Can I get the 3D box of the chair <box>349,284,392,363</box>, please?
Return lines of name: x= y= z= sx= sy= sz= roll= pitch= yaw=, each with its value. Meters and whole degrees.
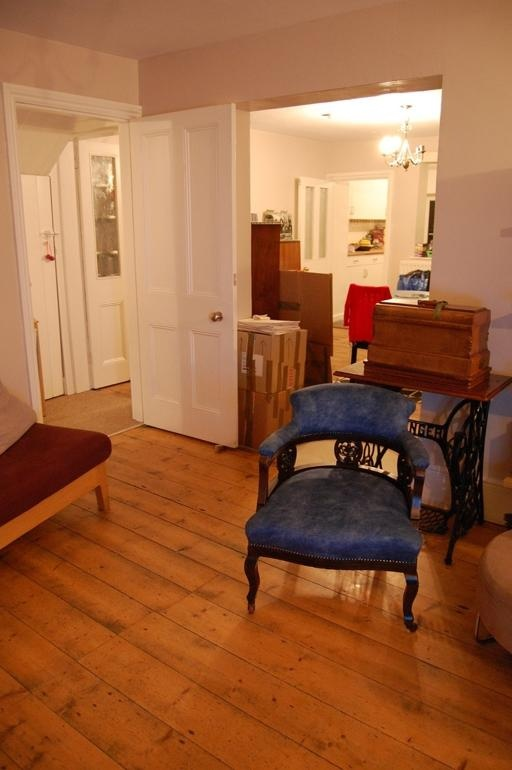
chair: x=1.019 y=-0.531 z=5.206 sx=0.345 sy=0.742 sz=0.598 roll=-1 pitch=13 yaw=-3

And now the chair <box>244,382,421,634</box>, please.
chair: x=0.322 y=0.390 z=2.089 sx=0.590 sy=0.604 sz=0.714 roll=3 pitch=18 yaw=17

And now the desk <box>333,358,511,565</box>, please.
desk: x=0.685 y=0.301 z=2.291 sx=0.686 sy=0.804 sz=0.465 roll=9 pitch=18 yaw=38

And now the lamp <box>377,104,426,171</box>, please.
lamp: x=1.626 y=-2.636 z=6.150 sx=0.483 sy=0.666 sz=0.424 roll=1 pitch=1 yaw=-16

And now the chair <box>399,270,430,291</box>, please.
chair: x=1.384 y=-0.916 z=5.027 sx=0.254 sy=0.177 sz=0.259 roll=3 pitch=13 yaw=13
